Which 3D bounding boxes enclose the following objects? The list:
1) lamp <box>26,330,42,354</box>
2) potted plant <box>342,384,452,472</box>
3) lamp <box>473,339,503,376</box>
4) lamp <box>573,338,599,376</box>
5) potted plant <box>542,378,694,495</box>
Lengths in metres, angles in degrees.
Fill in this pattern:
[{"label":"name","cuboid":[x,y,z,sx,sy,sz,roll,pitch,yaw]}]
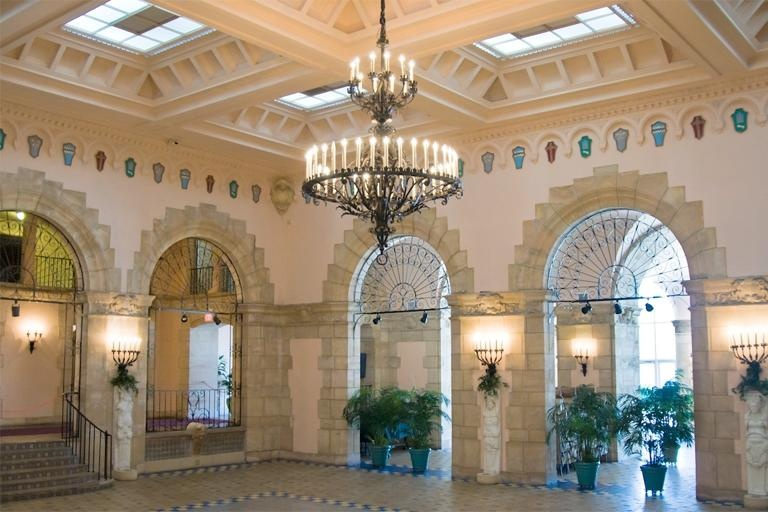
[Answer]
[{"label":"lamp","cuboid":[-10.481,2.557,17.803,0.231,0.792,0.510,-20,-22,29]},{"label":"potted plant","cuboid":[0.359,4.400,15.972,2.765,2.231,2.010,1,-15,4]},{"label":"lamp","cuboid":[2.423,2.343,13.765,0.725,0.896,0.180,-7,-17,27]},{"label":"lamp","cuboid":[5.747,2.851,16.908,0.363,1.239,0.870,18,-21,-41]},{"label":"potted plant","cuboid":[5.402,4.010,13.478,3.533,2.318,2.806,7,-12,-33]}]
